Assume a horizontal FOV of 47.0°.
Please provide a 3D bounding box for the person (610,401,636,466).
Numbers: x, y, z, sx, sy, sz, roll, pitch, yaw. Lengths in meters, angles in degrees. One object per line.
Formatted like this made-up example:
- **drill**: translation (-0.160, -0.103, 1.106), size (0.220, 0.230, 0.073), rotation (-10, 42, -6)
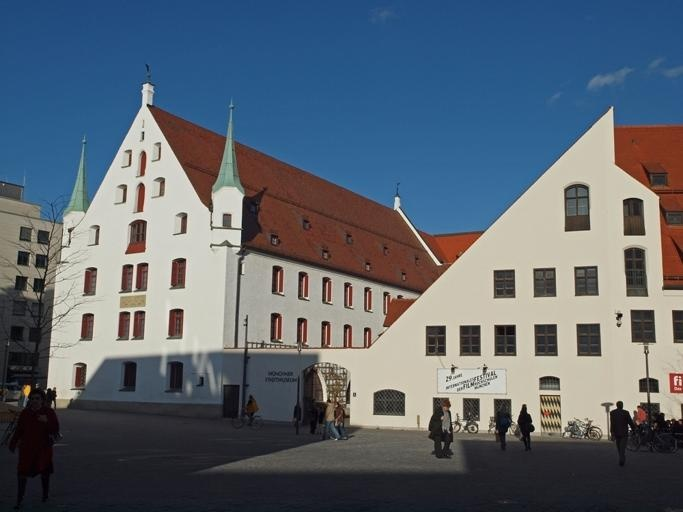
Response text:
- **person**: translation (10.522, 6.559, 29.510), size (0.760, 2.284, 0.768), rotation (-2, -3, 21)

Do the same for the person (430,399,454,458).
- **person**: translation (3.866, 6.742, 30.702), size (0.825, 2.218, 1.146), rotation (-2, -15, 11)

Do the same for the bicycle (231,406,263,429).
- **bicycle**: translation (-5.386, 9.417, 45.012), size (1.671, 1.089, 0.839), rotation (-1, -8, -5)
